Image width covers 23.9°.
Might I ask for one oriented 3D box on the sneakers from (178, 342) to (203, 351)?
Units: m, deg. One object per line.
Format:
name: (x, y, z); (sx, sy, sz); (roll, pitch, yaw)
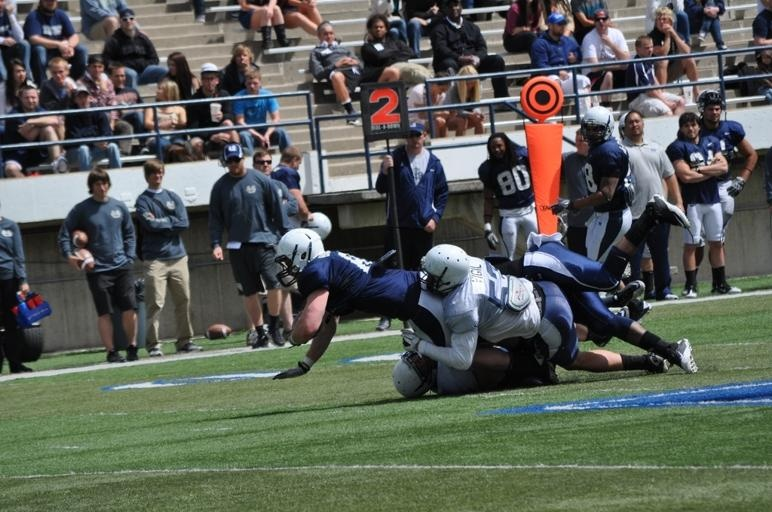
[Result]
sneakers: (-2.921, 1.377, 26.966); (0.364, 0.152, 0.151); (-3, 3, 2)

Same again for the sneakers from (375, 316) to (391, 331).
sneakers: (-0.037, 1.048, 27.093); (0.132, 0.274, 0.419); (0, -7, 10)

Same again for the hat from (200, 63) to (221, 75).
hat: (-2.850, -2.970, 29.161); (0.274, 0.141, 0.416); (0, 2, -9)

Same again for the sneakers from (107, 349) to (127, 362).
sneakers: (-3.963, 1.473, 26.426); (0.330, 0.158, 0.144); (1, 3, 8)

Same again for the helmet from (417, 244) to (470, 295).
helmet: (0.697, 0.178, 21.882); (0.591, 0.476, 0.498); (-5, -18, 13)

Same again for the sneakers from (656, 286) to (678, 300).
sneakers: (4.200, 0.597, 27.165); (0.396, 0.177, 0.134); (-2, -1, 45)

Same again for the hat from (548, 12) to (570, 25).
hat: (2.865, -3.907, 30.269); (0.228, 0.176, 0.313); (-4, 10, -26)

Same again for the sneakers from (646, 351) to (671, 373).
sneakers: (3.342, 1.313, 22.187); (0.259, 0.206, 0.194); (5, -9, -5)

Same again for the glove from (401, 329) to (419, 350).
glove: (0.287, 1.013, 21.938); (0.239, 0.240, 0.185); (23, -1, -8)

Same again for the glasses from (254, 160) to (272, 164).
glasses: (-1.830, -1.363, 26.948); (0.240, 0.060, 0.143); (-5, 0, -22)

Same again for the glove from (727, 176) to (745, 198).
glove: (5.284, -1.005, 27.244); (0.108, 0.369, 0.205); (11, 31, -53)

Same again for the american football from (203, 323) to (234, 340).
american football: (-2.658, 1.218, 28.728); (0.372, 0.240, 0.297); (-5, 0, -10)

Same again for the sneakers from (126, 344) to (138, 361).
sneakers: (-3.713, 1.429, 26.509); (0.170, 0.248, 0.415); (-5, 0, -7)

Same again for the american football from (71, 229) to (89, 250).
american football: (-4.439, -0.218, 26.265); (0.185, 0.202, 0.252); (-2, -8, 43)

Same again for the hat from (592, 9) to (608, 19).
hat: (3.642, -4.036, 30.651); (0.195, 0.189, 0.317); (-1, 12, 6)

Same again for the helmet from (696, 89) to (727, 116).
helmet: (4.905, -2.376, 27.353); (0.320, 0.378, 0.377); (4, -40, 14)

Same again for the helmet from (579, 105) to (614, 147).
helmet: (2.905, -1.744, 24.630); (0.395, 0.429, 0.507); (-2, 2, 42)

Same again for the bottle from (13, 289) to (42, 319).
bottle: (-5.293, 0.718, 26.603); (0.330, 0.349, 0.552); (-5, 0, 6)

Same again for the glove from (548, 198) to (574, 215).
glove: (2.473, -0.668, 25.456); (0.231, 0.091, 0.233); (-16, 6, -16)

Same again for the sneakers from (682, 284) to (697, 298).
sneakers: (4.552, 0.561, 27.130); (0.223, 0.179, 0.387); (-5, 0, 9)

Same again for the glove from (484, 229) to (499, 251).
glove: (1.579, -0.196, 26.880); (0.110, 0.284, 0.204); (-26, 7, 5)

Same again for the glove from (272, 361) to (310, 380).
glove: (-1.144, 1.413, 22.341); (0.415, 0.214, 0.483); (-5, 0, 21)

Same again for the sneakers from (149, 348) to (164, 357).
sneakers: (-3.418, 1.433, 26.771); (0.252, 0.133, 0.262); (-5, 0, 6)

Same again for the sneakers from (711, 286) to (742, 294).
sneakers: (5.146, 0.546, 27.399); (0.301, 0.130, 0.171); (-3, 2, 14)

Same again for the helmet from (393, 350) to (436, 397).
helmet: (0.358, 1.470, 22.315); (0.514, 0.572, 0.202); (-5, 0, -24)

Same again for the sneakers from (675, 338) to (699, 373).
sneakers: (3.672, 1.222, 22.107); (0.218, 0.500, 0.212); (-14, 12, 18)

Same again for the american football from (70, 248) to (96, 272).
american football: (-4.386, 0.071, 26.247); (0.239, 0.319, 0.236); (-43, -18, 28)
